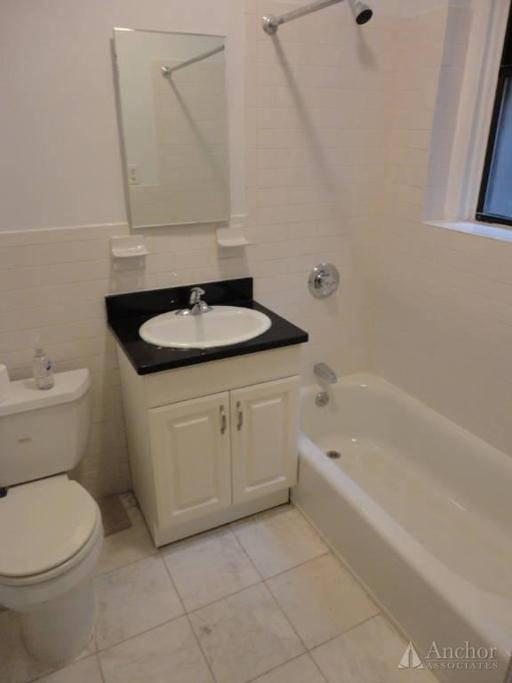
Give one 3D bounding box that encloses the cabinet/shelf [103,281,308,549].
[{"bbox_3d":[-0.183,0.268,1.953,0.639,0.851,0.507,-14,26,-32],"label":"cabinet/shelf"}]
